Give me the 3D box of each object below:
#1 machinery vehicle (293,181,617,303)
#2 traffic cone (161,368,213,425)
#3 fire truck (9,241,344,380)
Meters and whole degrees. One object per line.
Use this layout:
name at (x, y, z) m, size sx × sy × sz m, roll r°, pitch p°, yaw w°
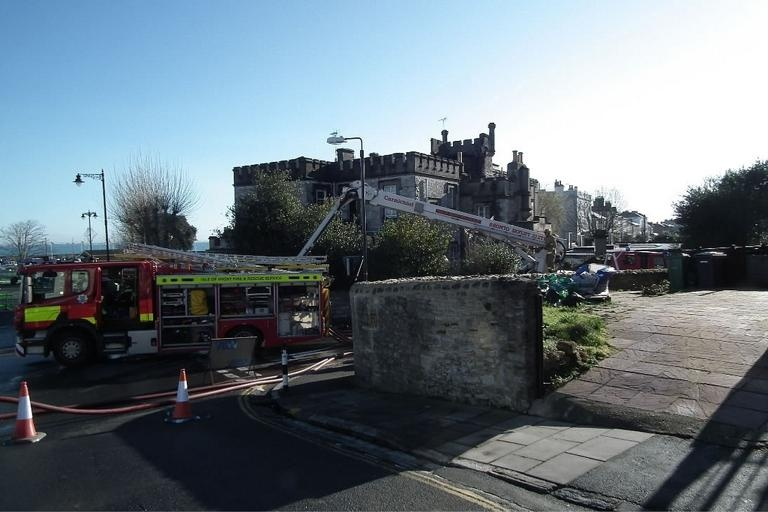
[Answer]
machinery vehicle at (4.584, -1.174, 23.667) m, size 7.531 × 4.967 × 11.880 m, roll -6°, pitch 7°, yaw -36°
traffic cone at (-4.994, 3.402, 12.901) m, size 1.268 × 1.173 × 1.379 m, roll -3°, pitch -9°, yaw 21°
fire truck at (-7.286, 2.093, 18.571) m, size 11.252 × 4.454 × 3.679 m, roll 0°, pitch -2°, yaw -14°
